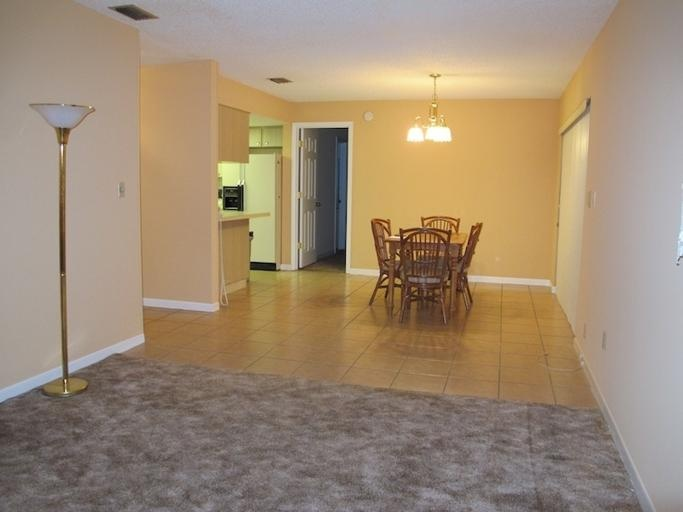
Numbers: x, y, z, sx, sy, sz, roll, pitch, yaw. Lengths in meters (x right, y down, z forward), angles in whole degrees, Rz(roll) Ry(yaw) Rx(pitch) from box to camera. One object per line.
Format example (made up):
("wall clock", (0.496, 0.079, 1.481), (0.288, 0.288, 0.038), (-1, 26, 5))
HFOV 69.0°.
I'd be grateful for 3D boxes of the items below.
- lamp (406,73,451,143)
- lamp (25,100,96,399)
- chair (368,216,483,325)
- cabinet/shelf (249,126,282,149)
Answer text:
("lamp", (1.122, -1.844, 6.104), (0.628, 0.736, 0.638), (9, 22, 26))
("lamp", (-1.944, -0.140, 3.483), (0.323, 1.723, 0.352), (0, -1, 18))
("chair", (1.010, 0.107, 5.988), (1.154, 1.091, 1.852), (5, 11, 24))
("cabinet/shelf", (-1.272, -2.067, 8.555), (0.682, 0.358, 0.185), (5, 11, 23))
